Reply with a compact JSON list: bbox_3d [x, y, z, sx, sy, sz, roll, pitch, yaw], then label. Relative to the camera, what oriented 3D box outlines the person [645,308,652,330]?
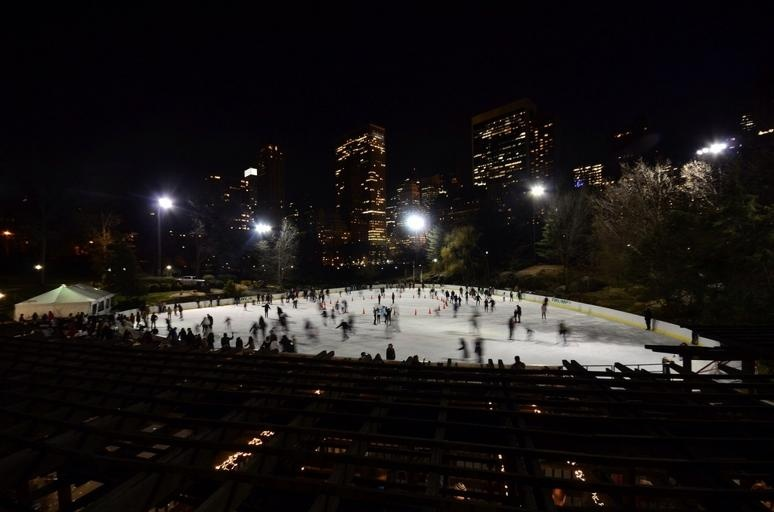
[{"bbox_3d":[16.601,4.058,33.862,0.410,1.440,0.946,2,8,28],"label":"person"}]
